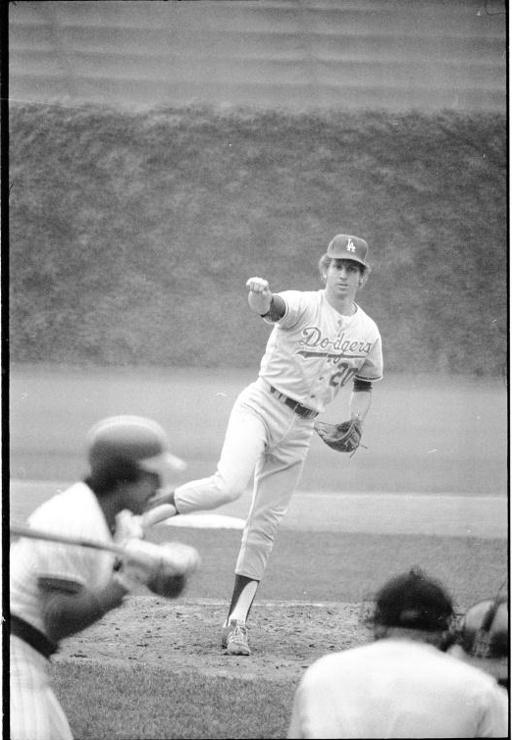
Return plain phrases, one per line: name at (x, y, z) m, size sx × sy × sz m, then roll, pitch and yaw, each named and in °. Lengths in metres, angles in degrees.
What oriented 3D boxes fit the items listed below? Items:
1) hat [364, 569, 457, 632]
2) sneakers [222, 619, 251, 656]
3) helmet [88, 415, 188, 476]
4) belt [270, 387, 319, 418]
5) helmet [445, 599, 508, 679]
hat at (0.498, 0.737, 4.933) m, size 0.249 × 0.095 × 0.294 m, roll -32°, pitch -4°, yaw 18°
sneakers at (-0.050, 0.796, 4.778) m, size 0.052 × 0.059 × 0.129 m, roll 3°, pitch -24°, yaw -3°
helmet at (-0.362, 0.221, 4.908) m, size 0.307 × 0.159 × 0.215 m, roll -2°, pitch 17°, yaw 9°
belt at (0.122, 0.094, 4.895) m, size 0.105 × 0.025 × 0.095 m, roll 34°, pitch -2°, yaw -8°
helmet at (0.689, 0.802, 4.846) m, size 0.217 × 0.219 × 0.091 m, roll 13°, pitch -8°, yaw 0°
